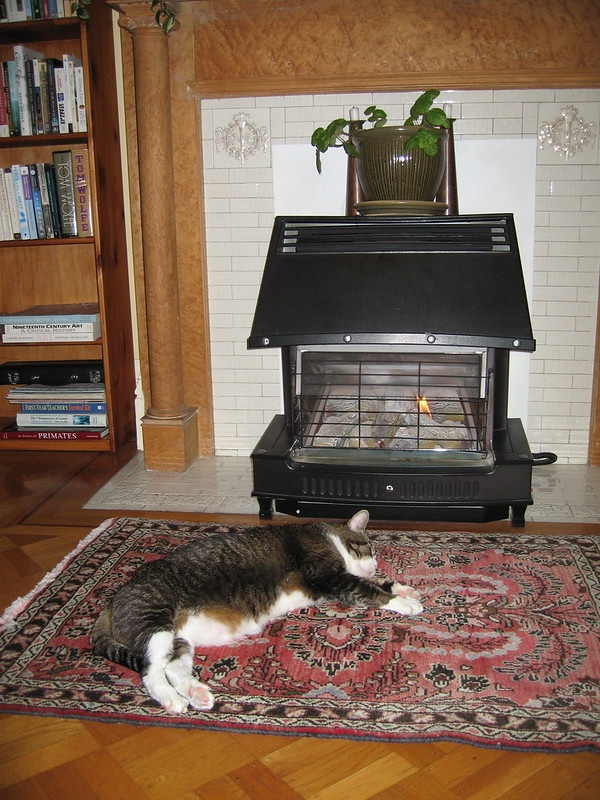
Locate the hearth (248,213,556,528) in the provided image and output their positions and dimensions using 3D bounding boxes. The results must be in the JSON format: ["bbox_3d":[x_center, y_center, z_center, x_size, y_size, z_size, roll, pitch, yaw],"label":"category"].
[{"bbox_3d":[0.325,-0.089,2.168,0.954,1.047,0.374,1,11,12],"label":"hearth"}]

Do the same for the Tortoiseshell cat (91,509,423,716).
[{"bbox_3d":[-0.073,0.445,1.509,0.802,0.196,0.438,-5,6,-41],"label":"Tortoiseshell cat"}]

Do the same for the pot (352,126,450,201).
[{"bbox_3d":[0.329,-0.766,2.233,0.304,0.233,0.309,-2,-3,0],"label":"pot"}]
